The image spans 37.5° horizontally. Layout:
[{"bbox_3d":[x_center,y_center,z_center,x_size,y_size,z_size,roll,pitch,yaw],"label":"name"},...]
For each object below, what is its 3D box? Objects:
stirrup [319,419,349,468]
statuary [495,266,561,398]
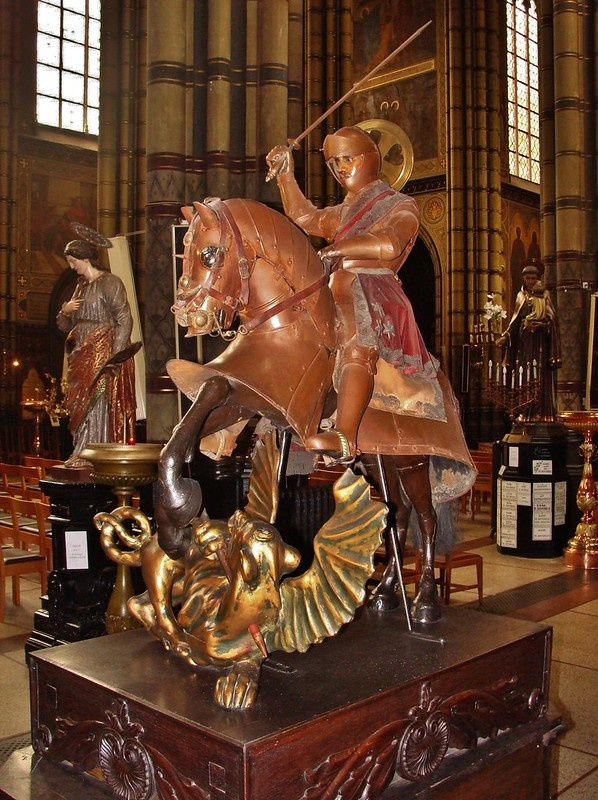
[{"bbox_3d":[0.093,0.129,2.263,0.049,0.052,0.138,-5,-31,19],"label":"stirrup"},{"bbox_3d":[2.380,-0.738,9.095,0.601,1.258,0.638,3,1,5],"label":"statuary"}]
